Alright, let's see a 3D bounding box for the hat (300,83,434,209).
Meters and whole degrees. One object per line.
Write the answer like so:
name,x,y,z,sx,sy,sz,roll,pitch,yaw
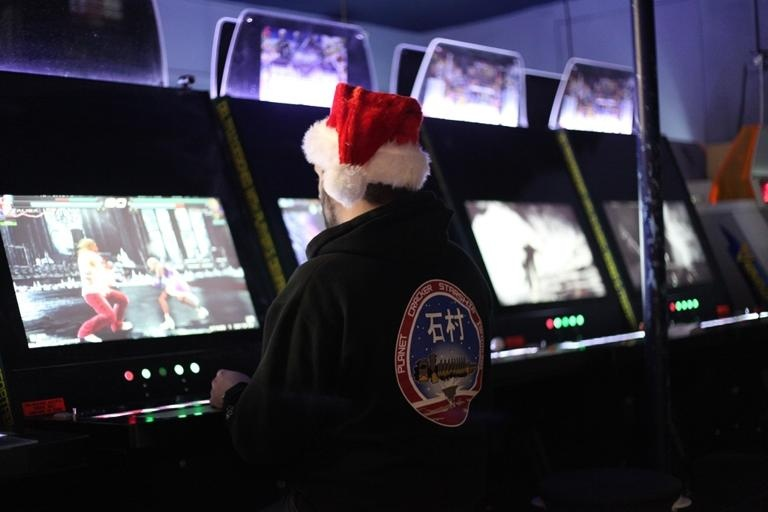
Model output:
hat,-0.064,-0.361,1.905,0.445,0.333,0.413,24,23,32
